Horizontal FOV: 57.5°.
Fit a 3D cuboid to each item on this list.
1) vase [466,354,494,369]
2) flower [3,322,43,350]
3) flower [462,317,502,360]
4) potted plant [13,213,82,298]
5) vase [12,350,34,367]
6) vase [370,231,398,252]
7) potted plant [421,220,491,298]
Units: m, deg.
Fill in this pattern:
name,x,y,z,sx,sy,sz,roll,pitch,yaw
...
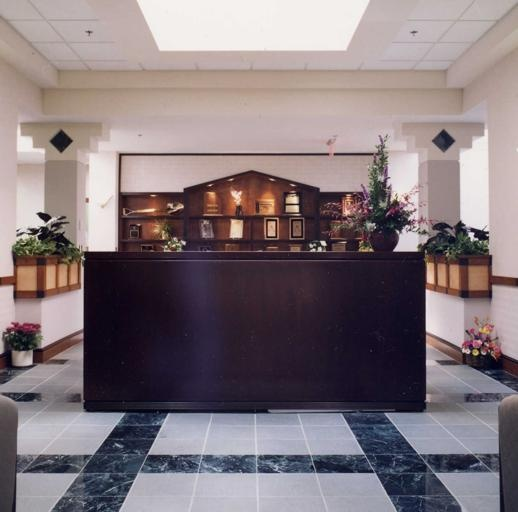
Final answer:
name,x,y,z,sx,sy,sz,roll,pitch,yaw
vase,2.334,1.106,4.971,0.152,0.097,0.158,0,-2,7
flower,-2.463,0.776,4.942,0.292,0.247,0.332,1,3,-40
flower,2.359,0.858,5.018,0.372,0.538,0.381,0,0,11
potted plant,-2.458,-0.003,5.513,0.457,0.908,0.927,0,3,-1
vase,-2.475,1.067,4.958,0.179,0.148,0.185,1,1,-5
vase,0.939,-0.109,3.551,0.160,0.121,0.164,2,1,24
potted plant,2.293,0.035,5.544,0.543,0.880,0.981,0,3,-7
